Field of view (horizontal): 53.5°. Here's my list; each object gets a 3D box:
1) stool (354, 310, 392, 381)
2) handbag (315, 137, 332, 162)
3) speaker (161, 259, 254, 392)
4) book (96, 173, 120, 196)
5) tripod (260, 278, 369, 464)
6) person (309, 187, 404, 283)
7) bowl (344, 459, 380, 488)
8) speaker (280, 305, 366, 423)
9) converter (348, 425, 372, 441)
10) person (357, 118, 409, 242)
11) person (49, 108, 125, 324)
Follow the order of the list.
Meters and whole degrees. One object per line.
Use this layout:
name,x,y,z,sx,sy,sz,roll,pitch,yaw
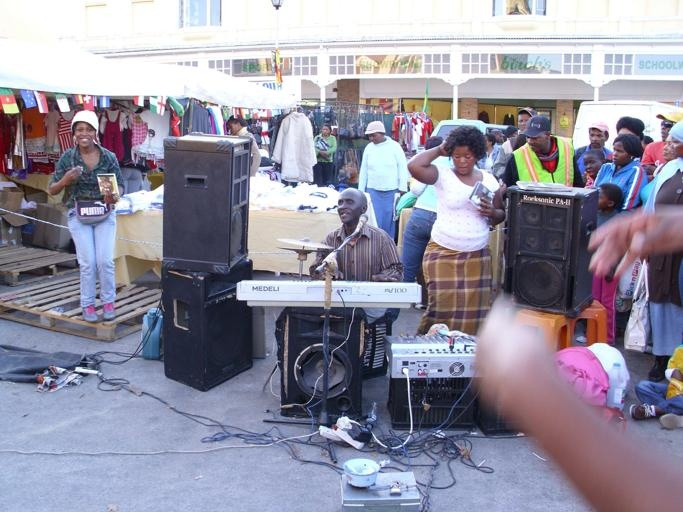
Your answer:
stool,0.297,0.805,5.936,0.327,0.583,0.373,6,13,7
handbag,-0.399,-2.349,15.100,0.340,0.480,0.188,-12,12,-30
speaker,-1.171,0.583,5.989,0.709,1.109,0.626,6,15,13
book,-2.285,-0.691,6.628,0.218,0.194,0.023,1,-2,-32
tripod,-0.185,0.926,5.313,0.918,1.078,1.034,0,1,3
person,0.154,-0.077,5.817,0.605,0.944,0.566,17,18,41
bowl,0.120,1.360,4.231,0.214,0.165,0.174,15,3,7
speaker,-0.164,0.764,5.385,0.631,0.868,0.553,1,15,-5
converter,0.143,1.298,4.959,0.150,0.101,0.037,11,12,15
person,0.581,-1.003,9.317,0.620,1.648,0.598,4,15,5
person,-2.570,-0.442,6.929,0.774,2.148,0.756,-1,3,-23
